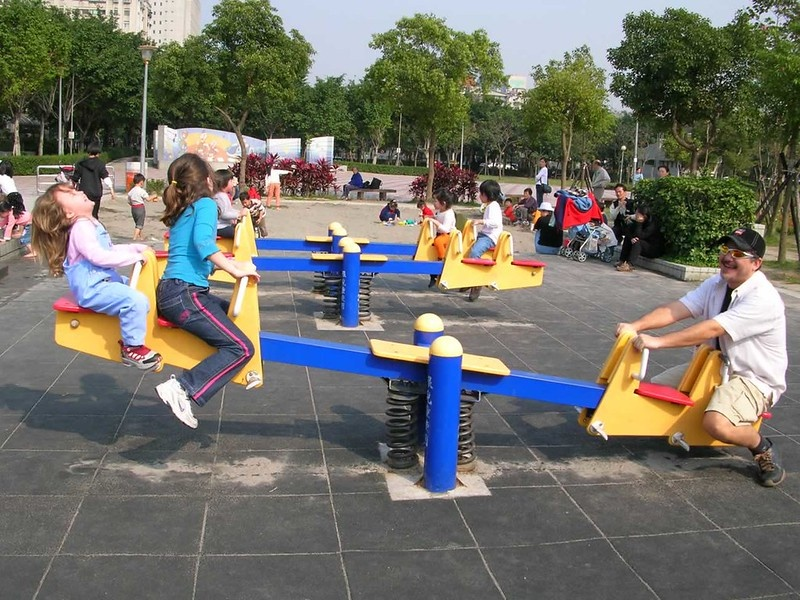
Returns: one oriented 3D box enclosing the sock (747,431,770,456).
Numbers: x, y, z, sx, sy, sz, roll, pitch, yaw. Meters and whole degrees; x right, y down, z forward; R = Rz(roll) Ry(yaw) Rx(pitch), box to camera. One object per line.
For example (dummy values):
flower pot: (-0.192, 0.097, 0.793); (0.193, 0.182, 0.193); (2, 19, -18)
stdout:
sock: (2.426, 0.977, 4.418); (0.129, 0.141, 0.155); (11, 5, 18)

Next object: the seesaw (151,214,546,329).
seesaw: (-0.942, -0.484, 8.290); (5.724, 1.444, 1.626); (3, 4, -7)

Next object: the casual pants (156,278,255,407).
casual pants: (-1.246, 0.247, 4.137); (0.453, 0.737, 0.460); (-5, 17, -35)

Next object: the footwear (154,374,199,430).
footwear: (-1.374, 0.627, 3.947); (0.223, 0.312, 0.173); (0, 15, -20)

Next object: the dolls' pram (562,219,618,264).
dolls' pram: (4.077, -1.296, 14.051); (1.072, 0.675, 0.976); (-5, 16, -11)

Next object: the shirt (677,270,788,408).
shirt: (2.252, 0.223, 4.468); (0.747, 0.791, 0.655); (6, 16, -9)

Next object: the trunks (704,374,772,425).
trunks: (2.295, 0.739, 4.298); (0.366, 0.188, 0.471); (21, 7, 32)

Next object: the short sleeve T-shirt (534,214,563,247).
short sleeve T-shirt: (3.357, -1.558, 14.537); (0.829, 0.826, 0.528); (-2, 11, 10)

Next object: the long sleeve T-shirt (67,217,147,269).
long sleeve T-shirt: (-1.898, -0.376, 4.128); (0.490, 0.255, 0.304); (-3, 19, -17)

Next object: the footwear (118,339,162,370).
footwear: (-1.622, 0.346, 4.089); (0.272, 0.142, 0.137); (2, 27, -8)

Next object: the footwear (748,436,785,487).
footwear: (2.486, 1.071, 4.439); (0.177, 0.154, 0.409); (44, 30, -11)

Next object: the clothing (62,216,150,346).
clothing: (-1.824, -0.122, 4.210); (0.675, 0.785, 0.601); (0, 7, -24)

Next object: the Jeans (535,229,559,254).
Jeans: (3.235, -1.288, 14.764); (0.641, 0.510, 0.446); (1, 5, 1)

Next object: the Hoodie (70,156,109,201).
Hoodie: (-6.199, -2.470, 12.845); (0.660, 0.680, 0.305); (-3, 29, -29)

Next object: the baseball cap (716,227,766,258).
baseball cap: (2.263, -0.391, 4.266); (0.273, 0.127, 0.186); (22, 7, -21)
